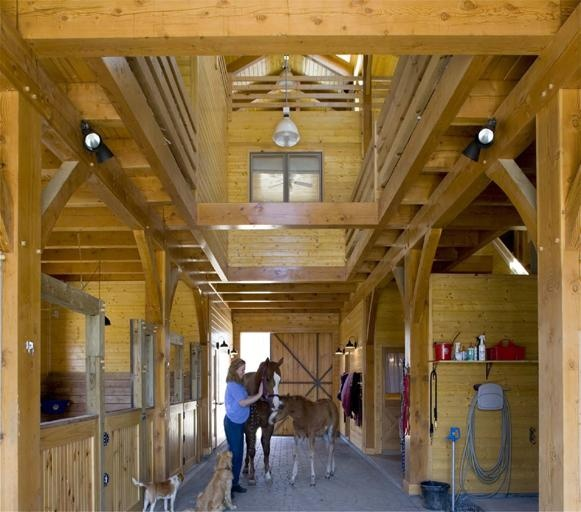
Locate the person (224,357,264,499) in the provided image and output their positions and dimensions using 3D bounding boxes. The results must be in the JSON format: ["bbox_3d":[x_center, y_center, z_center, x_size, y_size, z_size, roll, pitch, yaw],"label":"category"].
[{"bbox_3d":[-0.637,2.119,8.149,0.402,1.647,0.652,0,-12,-6],"label":"person"}]

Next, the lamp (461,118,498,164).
[{"bbox_3d":[1.488,-0.874,5.164,0.127,0.326,0.184,23,7,37],"label":"lamp"}]

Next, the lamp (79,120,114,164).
[{"bbox_3d":[-1.544,-0.885,5.160,0.138,0.344,0.130,-35,18,-18],"label":"lamp"}]

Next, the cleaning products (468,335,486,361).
[{"bbox_3d":[2.156,1.080,7.571,0.208,0.306,0.505,-5,-14,15],"label":"cleaning products"}]

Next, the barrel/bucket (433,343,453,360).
[{"bbox_3d":[1.778,1.109,7.591,0.227,0.254,0.405,-4,-14,13],"label":"barrel/bucket"}]

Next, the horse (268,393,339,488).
[{"bbox_3d":[0.292,2.732,9.929,0.382,1.402,1.677,0,-4,38],"label":"horse"}]

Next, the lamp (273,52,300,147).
[{"bbox_3d":[-0.070,-2.402,9.794,0.292,0.319,1.379,-18,-46,-18],"label":"lamp"}]

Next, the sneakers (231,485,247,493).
[{"bbox_3d":[-0.668,2.979,8.369,0.198,0.097,0.079,1,-2,-5],"label":"sneakers"}]

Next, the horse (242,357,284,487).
[{"bbox_3d":[-0.445,2.405,9.644,0.506,1.983,2.298,3,-2,-10],"label":"horse"}]

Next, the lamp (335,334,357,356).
[{"bbox_3d":[1.286,2.049,14.665,0.230,0.377,0.660,1,-9,-3],"label":"lamp"}]
